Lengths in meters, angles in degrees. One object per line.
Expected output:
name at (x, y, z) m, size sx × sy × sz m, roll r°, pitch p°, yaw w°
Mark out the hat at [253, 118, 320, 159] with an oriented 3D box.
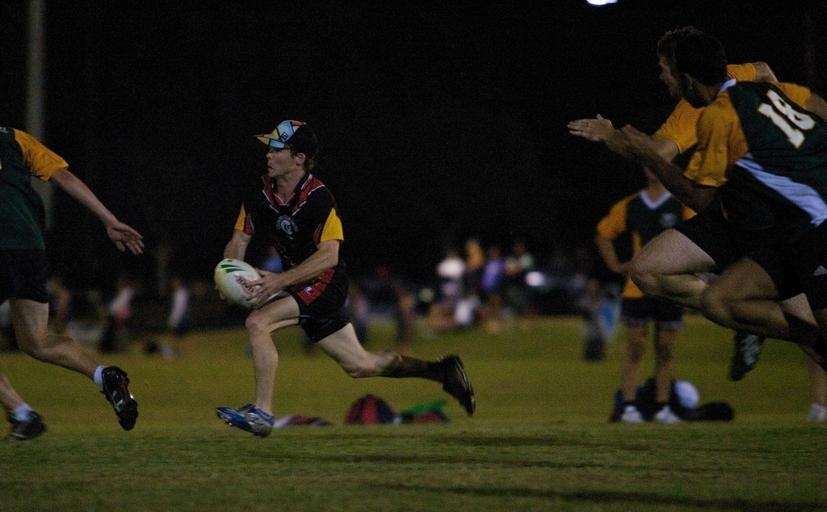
hat at (-1.388, -1.313, 11.021) m, size 0.616 × 0.294 × 0.411 m, roll 11°, pitch 8°, yaw -13°
